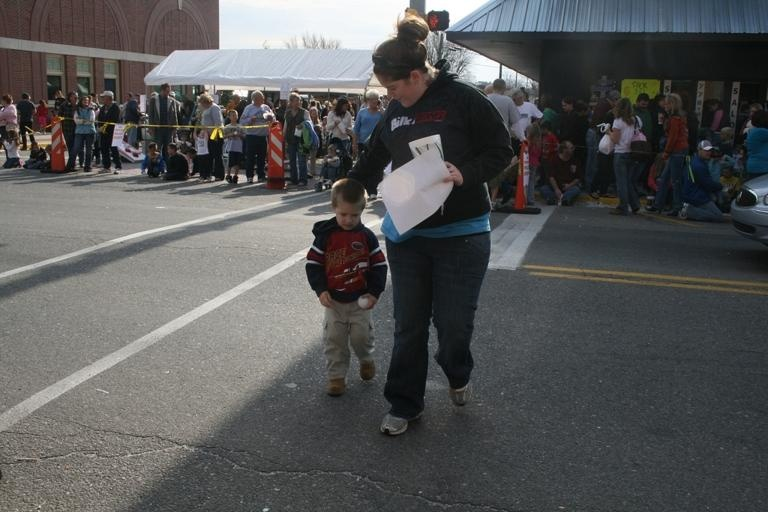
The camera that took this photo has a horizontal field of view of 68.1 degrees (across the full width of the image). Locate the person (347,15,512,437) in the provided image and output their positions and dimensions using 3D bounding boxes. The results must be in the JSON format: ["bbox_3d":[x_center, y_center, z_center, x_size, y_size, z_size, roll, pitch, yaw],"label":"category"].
[{"bbox_3d":[0.336,-0.203,3.813,0.978,2.738,0.610,1,12,7],"label":"person"}]

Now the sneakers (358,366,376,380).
[{"bbox_3d":[-0.137,0.915,4.501,0.135,0.134,0.083,-2,7,2],"label":"sneakers"}]

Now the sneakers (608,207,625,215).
[{"bbox_3d":[4.865,-0.969,11.957,0.117,0.133,0.294,-9,15,-42],"label":"sneakers"}]

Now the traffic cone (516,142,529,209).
[{"bbox_3d":[2.772,-1.631,11.540,0.231,1.342,0.469,3,12,15],"label":"traffic cone"}]

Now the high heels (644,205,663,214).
[{"bbox_3d":[5.766,-1.024,12.244,0.333,0.156,0.149,10,6,31],"label":"high heels"}]

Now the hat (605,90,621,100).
[{"bbox_3d":[5.499,-3.905,13.718,0.239,0.247,0.467,3,13,16],"label":"hat"}]

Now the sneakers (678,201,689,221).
[{"bbox_3d":[6.056,-0.983,11.581,0.127,0.178,0.393,6,43,15],"label":"sneakers"}]

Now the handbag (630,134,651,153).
[{"bbox_3d":[5.169,-2.299,11.516,0.482,0.408,0.176,-8,14,-31],"label":"handbag"}]
